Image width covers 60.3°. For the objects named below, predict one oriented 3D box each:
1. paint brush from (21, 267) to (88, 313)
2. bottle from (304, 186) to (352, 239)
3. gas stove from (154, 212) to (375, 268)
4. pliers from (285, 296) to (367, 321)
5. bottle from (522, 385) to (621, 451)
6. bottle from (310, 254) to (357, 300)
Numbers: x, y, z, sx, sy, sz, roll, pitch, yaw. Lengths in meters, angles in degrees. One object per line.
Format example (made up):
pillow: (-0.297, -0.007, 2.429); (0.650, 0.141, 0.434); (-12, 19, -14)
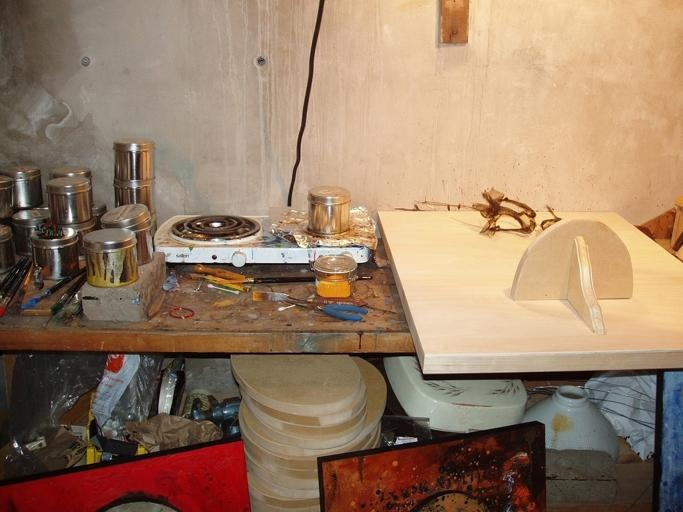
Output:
paint brush: (-0.945, 0.098, 1.998); (0.046, 0.029, 0.339); (41, 34, 5)
bottle: (-0.046, -0.159, 2.141); (0.204, 0.160, 0.210); (0, 16, 0)
gas stove: (-0.273, -0.048, 2.141); (0.784, 0.031, 0.615); (-1, 14, -4)
pliers: (-0.055, 0.167, 1.905); (0.272, 0.025, 0.076); (7, 31, 20)
bottle: (0.861, 0.627, 2.176); (0.300, 0.215, 0.269); (0, 16, -11)
bottle: (-0.021, 0.078, 2.037); (0.144, 0.144, 0.138); (22, 29, 39)
